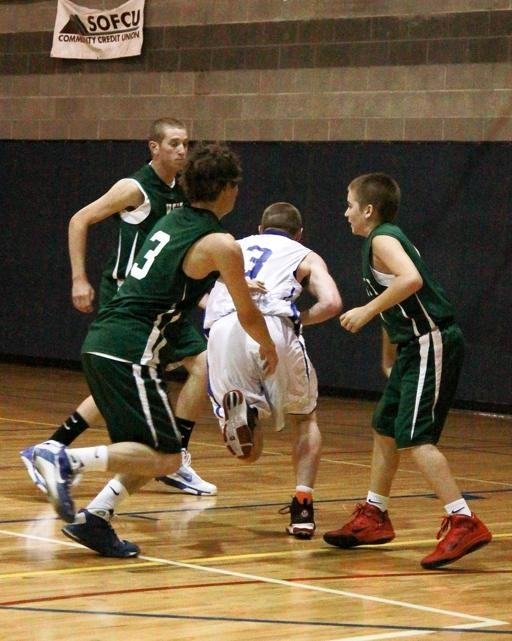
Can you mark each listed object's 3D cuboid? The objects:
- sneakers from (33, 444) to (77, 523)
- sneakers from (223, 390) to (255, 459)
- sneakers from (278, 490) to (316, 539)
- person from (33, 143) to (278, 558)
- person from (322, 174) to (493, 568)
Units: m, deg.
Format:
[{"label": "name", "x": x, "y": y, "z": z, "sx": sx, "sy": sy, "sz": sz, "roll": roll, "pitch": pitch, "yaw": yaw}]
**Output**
[{"label": "sneakers", "x": -0.521, "y": 0.437, "z": 1.890, "sx": 0.103, "sy": 0.209, "sz": 0.164, "roll": -4, "pitch": 17, "yaw": -23}, {"label": "sneakers", "x": -0.066, "y": 0.339, "z": 2.364, "sx": 0.093, "sy": 0.211, "sz": 0.109, "roll": -2, "pitch": 1, "yaw": 42}, {"label": "sneakers", "x": 0.166, "y": 0.702, "z": 2.548, "sx": 0.099, "sy": 0.164, "sz": 0.151, "roll": 5, "pitch": 15, "yaw": 5}, {"label": "person", "x": -0.255, "y": 0.010, "z": 2.002, "sx": 0.741, "sy": 0.993, "sz": 0.359, "roll": -5, "pitch": 18, "yaw": -29}, {"label": "person", "x": 0.501, "y": 0.226, "z": 2.258, "sx": 0.527, "sy": 1.326, "sz": 0.703, "roll": 5, "pitch": 16, "yaw": 5}]
